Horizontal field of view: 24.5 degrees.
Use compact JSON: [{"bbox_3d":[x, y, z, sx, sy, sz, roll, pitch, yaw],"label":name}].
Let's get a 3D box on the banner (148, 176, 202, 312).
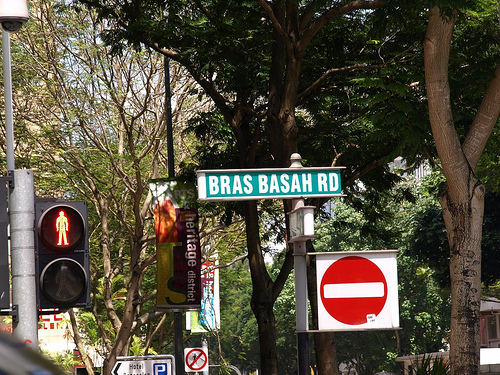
[{"bbox_3d":[-2.327,1.802,36.054,1.392,4.249,0.607,0,-9,-6],"label":"banner"}]
